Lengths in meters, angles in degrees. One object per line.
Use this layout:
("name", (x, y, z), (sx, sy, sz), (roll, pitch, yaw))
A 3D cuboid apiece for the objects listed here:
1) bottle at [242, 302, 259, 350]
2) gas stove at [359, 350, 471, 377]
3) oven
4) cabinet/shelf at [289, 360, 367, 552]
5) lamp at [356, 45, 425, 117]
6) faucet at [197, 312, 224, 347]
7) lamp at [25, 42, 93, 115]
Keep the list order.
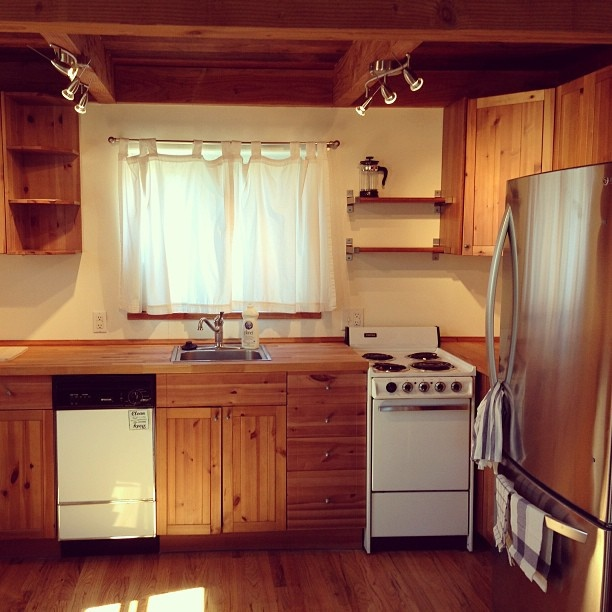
("bottle", (-0.315, 0.121, 3.402), (0.093, 0.230, 0.154), (0, 8, -7))
("gas stove", (0.567, 0.285, 3.244), (0.500, 0.046, 0.578), (0, 8, -3))
("oven", (0.583, 0.737, 3.251), (0.626, 0.896, 0.681), (3, 15, 24))
("cabinet/shelf", (0.096, 0.720, 3.026), (0.477, 1.163, 0.703), (0, -2, -3))
("lamp", (0.414, -1.127, 2.979), (0.270, 0.217, 0.453), (4, -11, -23))
("faucet", (-0.536, 0.133, 3.404), (0.145, 0.199, 0.273), (-1, 8, -10))
("lamp", (-1.006, -0.951, 2.576), (0.146, 0.282, 0.276), (-4, -14, -44))
